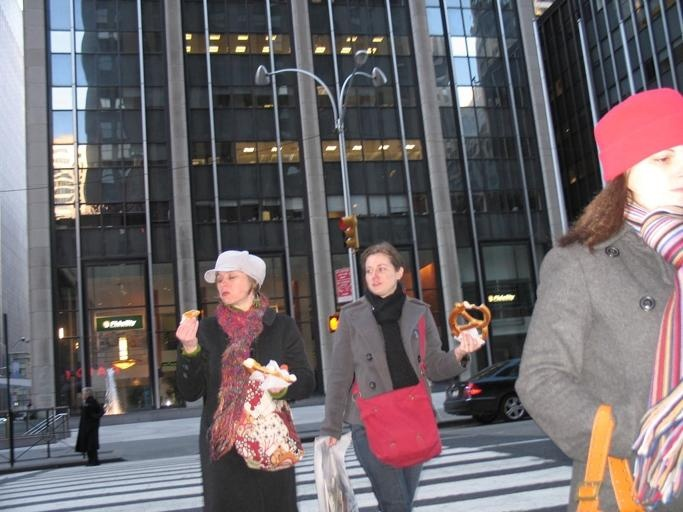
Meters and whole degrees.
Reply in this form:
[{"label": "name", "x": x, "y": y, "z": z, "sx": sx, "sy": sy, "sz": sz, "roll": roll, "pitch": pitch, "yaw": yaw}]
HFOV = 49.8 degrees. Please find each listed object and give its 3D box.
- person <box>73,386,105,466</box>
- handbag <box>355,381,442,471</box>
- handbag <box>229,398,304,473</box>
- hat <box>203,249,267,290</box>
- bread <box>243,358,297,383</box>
[{"label": "person", "x": -5.647, "y": 3.782, "z": 16.449, "sx": 0.630, "sy": 1.545, "sz": 1.906, "roll": -5, "pitch": -4, "yaw": -20}, {"label": "handbag", "x": 0.394, "y": 1.187, "z": 5.056, "sx": 0.548, "sy": 0.378, "sz": 0.325, "roll": -7, "pitch": -4, "yaw": 0}, {"label": "handbag", "x": -0.520, "y": 1.140, "z": 4.939, "sx": 0.436, "sy": 0.155, "sz": 0.600, "roll": 0, "pitch": 40, "yaw": -17}, {"label": "hat", "x": -0.742, "y": 0.066, "z": 5.234, "sx": 0.404, "sy": 0.217, "sz": 0.278, "roll": 13, "pitch": -18, "yaw": -35}, {"label": "bread", "x": -0.467, "y": 0.728, "z": 4.692, "sx": 0.278, "sy": 0.076, "sz": 0.165, "roll": 27, "pitch": 2, "yaw": 30}]
